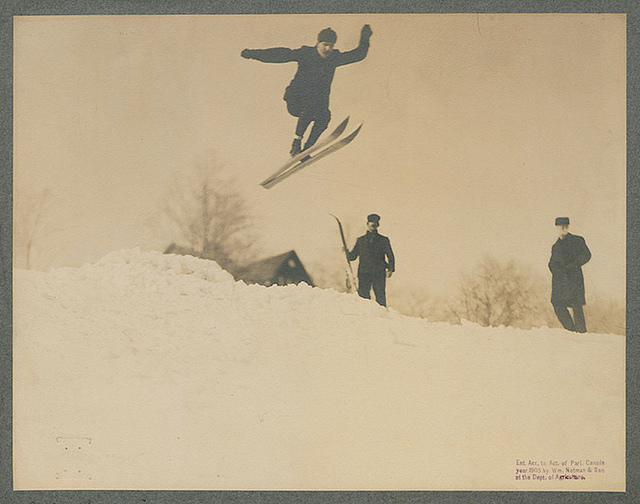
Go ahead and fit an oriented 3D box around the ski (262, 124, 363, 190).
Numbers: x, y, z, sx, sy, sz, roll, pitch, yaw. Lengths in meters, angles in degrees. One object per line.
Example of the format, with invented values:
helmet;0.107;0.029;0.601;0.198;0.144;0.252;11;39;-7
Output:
ski;-0.019;-0.470;7.957;0.618;0.073;0.059;-29;-48;13

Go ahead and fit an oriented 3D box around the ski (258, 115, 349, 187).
ski;-0.064;-0.504;7.931;0.716;0.047;0.089;-25;-12;5
